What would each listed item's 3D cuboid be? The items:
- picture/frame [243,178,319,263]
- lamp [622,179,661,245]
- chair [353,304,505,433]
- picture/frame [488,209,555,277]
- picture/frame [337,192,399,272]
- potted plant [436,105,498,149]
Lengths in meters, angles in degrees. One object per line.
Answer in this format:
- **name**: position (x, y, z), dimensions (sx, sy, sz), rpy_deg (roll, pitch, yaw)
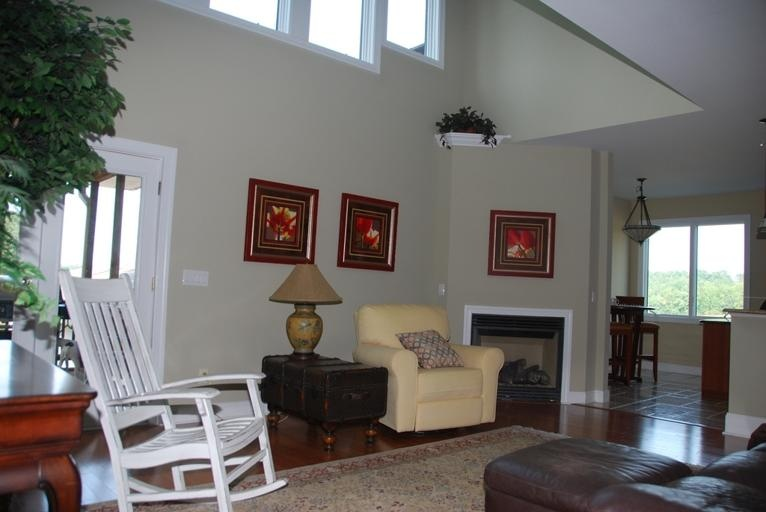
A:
- **picture/frame**: position (-1.053, -0.353, 5.460), dimensions (0.757, 0.717, 0.056), rpy_deg (15, -5, -41)
- **lamp**: position (4.030, -0.705, 8.603), dimensions (0.715, 1.032, 0.712), rpy_deg (2, -2, -3)
- **chair**: position (0.399, 1.079, 5.395), dimensions (1.263, 1.125, 1.232), rpy_deg (3, -1, -17)
- **picture/frame**: position (1.664, -0.121, 6.526), dimensions (0.773, 0.767, 0.058), rpy_deg (2, -3, -3)
- **picture/frame**: position (-0.164, -0.236, 6.053), dimensions (0.781, 0.754, 0.054), rpy_deg (8, -8, -39)
- **potted plant**: position (1.080, -1.639, 6.723), dimensions (0.681, 0.342, 0.584), rpy_deg (14, 15, 20)
